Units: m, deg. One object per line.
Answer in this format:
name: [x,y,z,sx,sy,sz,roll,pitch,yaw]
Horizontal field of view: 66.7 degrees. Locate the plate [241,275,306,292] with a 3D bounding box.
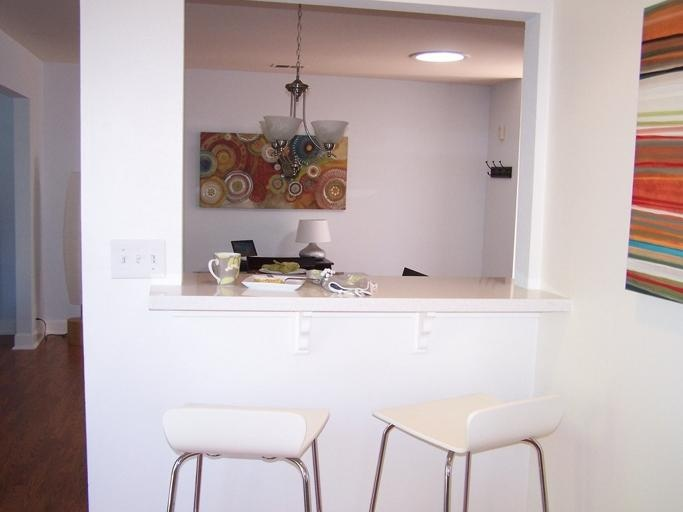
plate: [-0.288,0.110,2.278,0.246,0.048,0.265,1,10,-3]

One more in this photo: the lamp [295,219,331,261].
lamp: [-0.295,-0.158,5.471,0.397,0.493,0.395,0,0,4]

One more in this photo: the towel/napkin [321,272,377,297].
towel/napkin: [0.017,0.112,2.199,0.250,0.078,0.205,4,10,11]

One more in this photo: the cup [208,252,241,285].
cup: [-0.518,0.060,2.312,0.159,0.155,0.112,0,7,-10]
